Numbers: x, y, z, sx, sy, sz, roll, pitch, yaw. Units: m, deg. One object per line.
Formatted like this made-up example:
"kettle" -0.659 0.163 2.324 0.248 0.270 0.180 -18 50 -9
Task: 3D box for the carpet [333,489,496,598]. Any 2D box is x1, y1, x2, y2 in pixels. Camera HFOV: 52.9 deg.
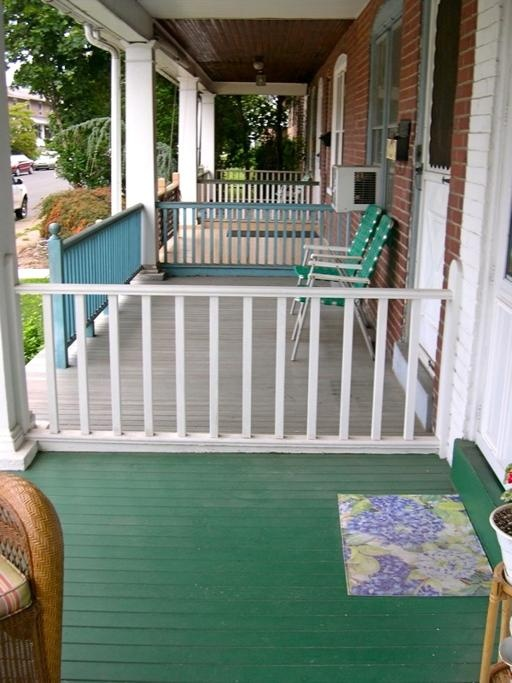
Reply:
"carpet" 0.639 0.785 2.113 0.544 0.008 0.929 -3 4 7

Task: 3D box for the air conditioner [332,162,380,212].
"air conditioner" 1.081 -1.599 5.544 0.464 0.539 0.591 1 15 10

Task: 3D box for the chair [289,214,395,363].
"chair" 0.820 -0.579 4.568 0.968 1.354 0.977 0 15 -2

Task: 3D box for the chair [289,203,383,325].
"chair" 0.798 -0.895 5.343 0.906 1.279 0.905 -1 15 -3
